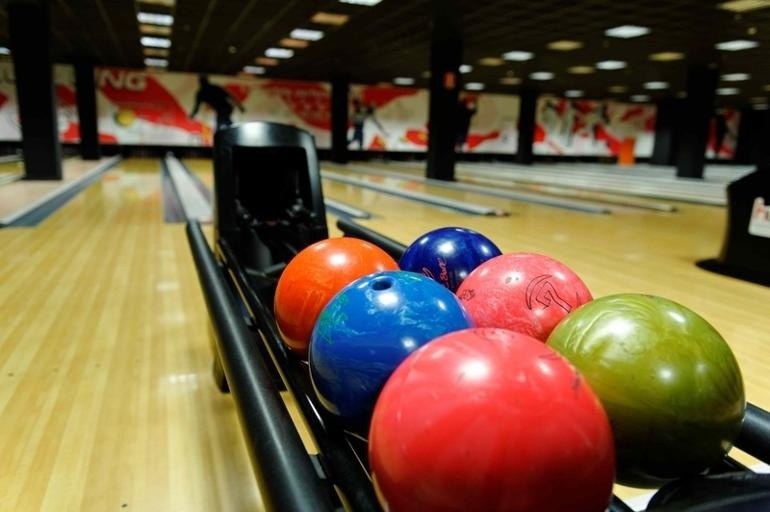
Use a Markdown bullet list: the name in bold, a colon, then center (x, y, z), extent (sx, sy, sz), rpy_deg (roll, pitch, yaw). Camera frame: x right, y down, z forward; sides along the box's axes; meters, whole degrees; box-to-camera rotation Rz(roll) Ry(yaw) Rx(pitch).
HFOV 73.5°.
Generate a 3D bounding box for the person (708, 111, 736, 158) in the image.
- **person**: center (9.939, -3.573, 15.191), extent (0.915, 1.443, 0.273), rpy_deg (-1, 14, -16)
